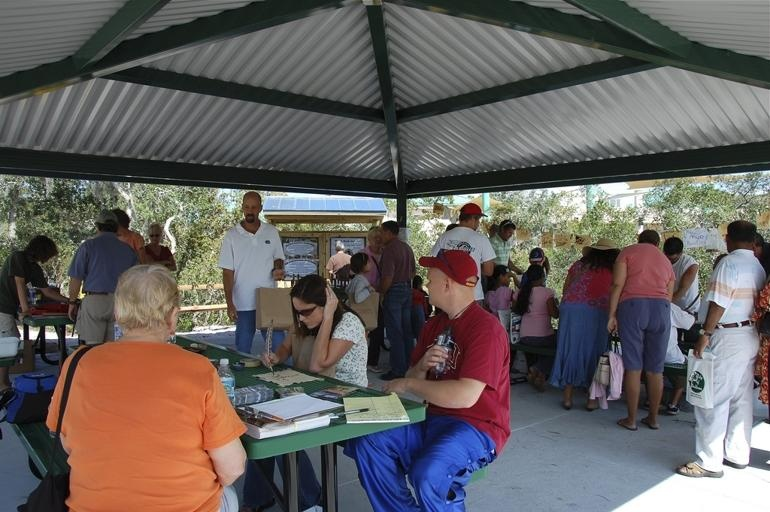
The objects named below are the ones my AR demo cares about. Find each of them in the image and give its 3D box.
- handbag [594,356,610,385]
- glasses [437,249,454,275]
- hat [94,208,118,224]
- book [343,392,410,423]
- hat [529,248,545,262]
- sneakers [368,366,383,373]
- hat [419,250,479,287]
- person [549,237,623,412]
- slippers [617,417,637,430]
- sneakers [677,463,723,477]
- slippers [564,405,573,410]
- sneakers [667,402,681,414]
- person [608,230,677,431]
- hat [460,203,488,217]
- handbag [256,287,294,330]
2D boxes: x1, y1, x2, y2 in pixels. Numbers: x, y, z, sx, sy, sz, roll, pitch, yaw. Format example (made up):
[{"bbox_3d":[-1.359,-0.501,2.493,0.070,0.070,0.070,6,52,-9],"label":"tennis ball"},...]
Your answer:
[{"bbox_3d":[2.356,1.222,6.083,0.131,0.403,0.215,2,9,12],"label":"handbag"},{"bbox_3d":[0.437,0.044,3.912,0.040,0.139,0.138,-9,-19,30],"label":"glasses"},{"bbox_3d":[-3.132,-0.451,6.348,0.231,0.154,0.308,8,9,-14],"label":"hat"},{"bbox_3d":[-0.067,0.985,3.577,0.403,0.071,0.360,-1,8,-10],"label":"book"},{"bbox_3d":[2.018,-0.015,7.528,0.175,0.142,0.260,-1,5,23],"label":"hat"},{"bbox_3d":[-0.149,1.626,7.955,0.180,0.084,0.078,-1,-3,0],"label":"sneakers"},{"bbox_3d":[0.452,0.086,3.947,0.337,0.189,0.240,17,4,14],"label":"hat"},{"bbox_3d":[2.384,0.760,6.677,0.727,2.087,0.788,3,-2,21],"label":"person"},{"bbox_3d":[2.524,1.759,5.841,0.090,0.069,0.172,-1,10,-24],"label":"slippers"},{"bbox_3d":[2.734,1.885,4.864,0.322,0.107,0.150,3,-11,4],"label":"sneakers"},{"bbox_3d":[2.090,1.733,6.403,0.093,0.038,0.077,0,8,3],"label":"slippers"},{"bbox_3d":[3.201,1.717,6.232,0.072,0.081,0.203,-11,-14,32],"label":"sneakers"},{"bbox_3d":[2.761,0.733,5.964,0.664,2.067,0.582,7,-5,-22],"label":"person"},{"bbox_3d":[1.096,-0.593,7.047,0.237,0.124,0.165,6,-2,-37],"label":"hat"},{"bbox_3d":[-1.121,0.544,5.723,0.489,0.463,0.193,0,-4,-10],"label":"handbag"}]
